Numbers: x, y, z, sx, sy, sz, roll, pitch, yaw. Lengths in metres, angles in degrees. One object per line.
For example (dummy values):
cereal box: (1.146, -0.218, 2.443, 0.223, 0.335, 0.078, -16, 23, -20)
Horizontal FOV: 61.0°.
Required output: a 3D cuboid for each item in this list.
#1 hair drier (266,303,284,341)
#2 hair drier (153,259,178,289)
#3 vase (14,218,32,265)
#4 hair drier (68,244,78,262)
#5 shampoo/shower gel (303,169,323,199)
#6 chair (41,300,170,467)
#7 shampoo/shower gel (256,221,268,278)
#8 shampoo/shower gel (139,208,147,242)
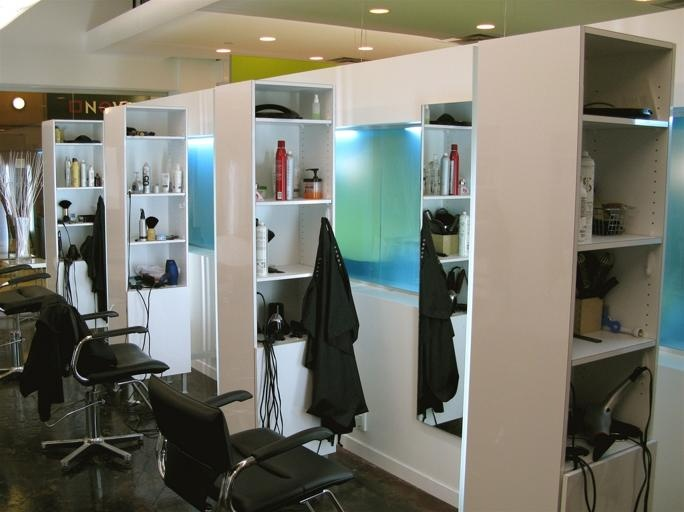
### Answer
hair drier: (-0.479, 0.437, 3.958, 0.151, 0.158, 0.137, -10, -21, 23)
hair drier: (-1.528, 0.149, 5.111, 0.211, 0.215, 0.130, -6, 12, -34)
vase: (-3.737, -0.214, 6.828, 0.177, 0.511, 0.244, -5, 12, -29)
hair drier: (-2.831, -0.037, 6.155, 0.139, 0.160, 0.141, -8, 14, -41)
shampoo/shower gel: (-0.186, -0.476, 3.879, 0.141, 0.252, 0.171, -5, 11, -31)
chair: (-1.640, 0.850, 4.260, 1.014, 1.508, 0.935, 0, 4, -21)
shampoo/shower gel: (-0.519, -0.034, 3.753, 0.065, 0.313, 0.094, -1, 10, -12)
shampoo/shower gel: (-1.750, -0.282, 5.125, 0.064, 0.256, 0.197, -2, 11, -18)
